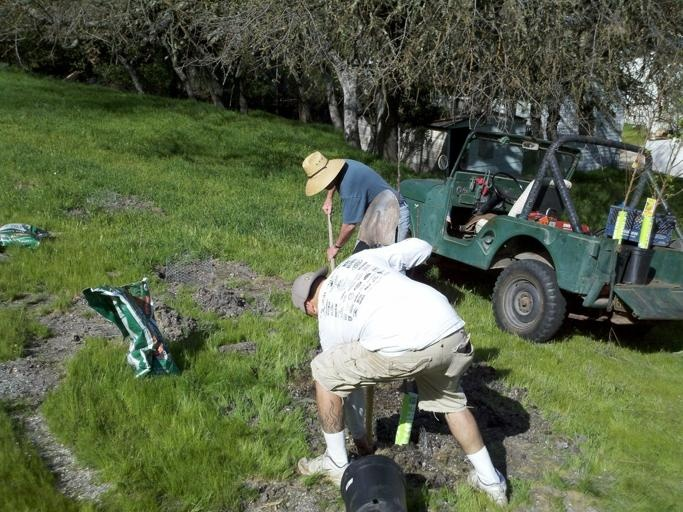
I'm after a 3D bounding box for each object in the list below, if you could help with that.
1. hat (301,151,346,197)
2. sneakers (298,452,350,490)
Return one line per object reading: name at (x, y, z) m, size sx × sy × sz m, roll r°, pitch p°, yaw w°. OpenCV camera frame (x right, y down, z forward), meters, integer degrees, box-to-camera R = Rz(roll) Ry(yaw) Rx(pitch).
hat at (-0.201, -0.924, 7.110) m, size 0.496 × 0.547 × 0.496 m, roll 1°, pitch 22°, yaw -2°
sneakers at (-0.124, 1.850, 5.229) m, size 0.476 × 0.258 × 0.225 m, roll 17°, pitch 37°, yaw 10°
